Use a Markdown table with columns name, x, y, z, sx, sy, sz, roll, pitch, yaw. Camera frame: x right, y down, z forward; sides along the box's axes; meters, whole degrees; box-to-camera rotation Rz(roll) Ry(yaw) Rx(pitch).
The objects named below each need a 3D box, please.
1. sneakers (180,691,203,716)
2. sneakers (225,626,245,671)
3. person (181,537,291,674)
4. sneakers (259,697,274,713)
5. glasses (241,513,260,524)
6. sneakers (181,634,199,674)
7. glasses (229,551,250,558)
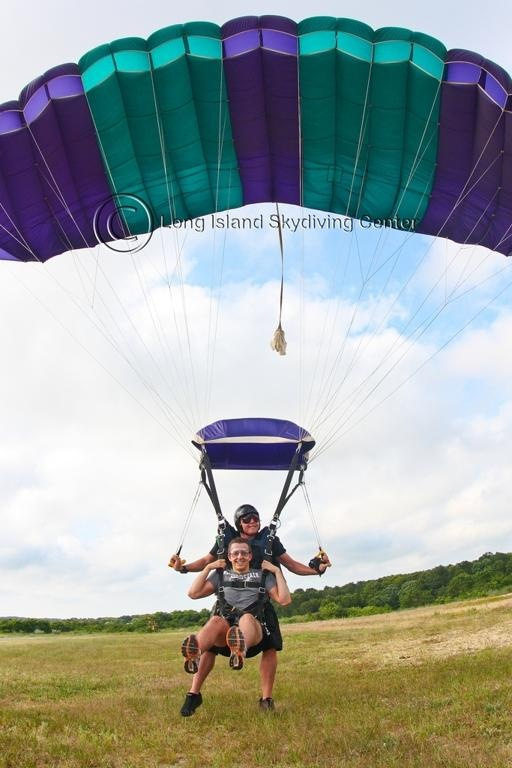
| name | x | y | z | sx | sy | sz | roll | pitch | yaw |
| --- | --- | --- | --- | --- | --- | --- | --- | --- | --- |
| sneakers | -0.536 | 2.680 | 5.489 | 0.105 | 0.128 | 0.290 | 0 | -5 | 8 |
| sneakers | -0.159 | 2.012 | 5.016 | 0.139 | 0.353 | 0.150 | -2 | -25 | 0 |
| person | -0.167 | 1.863 | 5.571 | 0.910 | 1.065 | 0.617 | -3 | -22 | -4 |
| sneakers | 0.088 | 2.771 | 5.664 | 0.118 | 0.104 | 0.229 | -1 | -22 | -7 |
| glasses | -0.061 | 1.266 | 6.161 | 0.111 | 0.110 | 0.046 | 0 | 11 | -5 |
| sneakers | -0.506 | 2.200 | 5.247 | 0.142 | 0.350 | 0.161 | 0 | -3 | 1 |
| glasses | -0.145 | 1.495 | 5.688 | 0.171 | 0.066 | 0.094 | -3 | -22 | -5 |
